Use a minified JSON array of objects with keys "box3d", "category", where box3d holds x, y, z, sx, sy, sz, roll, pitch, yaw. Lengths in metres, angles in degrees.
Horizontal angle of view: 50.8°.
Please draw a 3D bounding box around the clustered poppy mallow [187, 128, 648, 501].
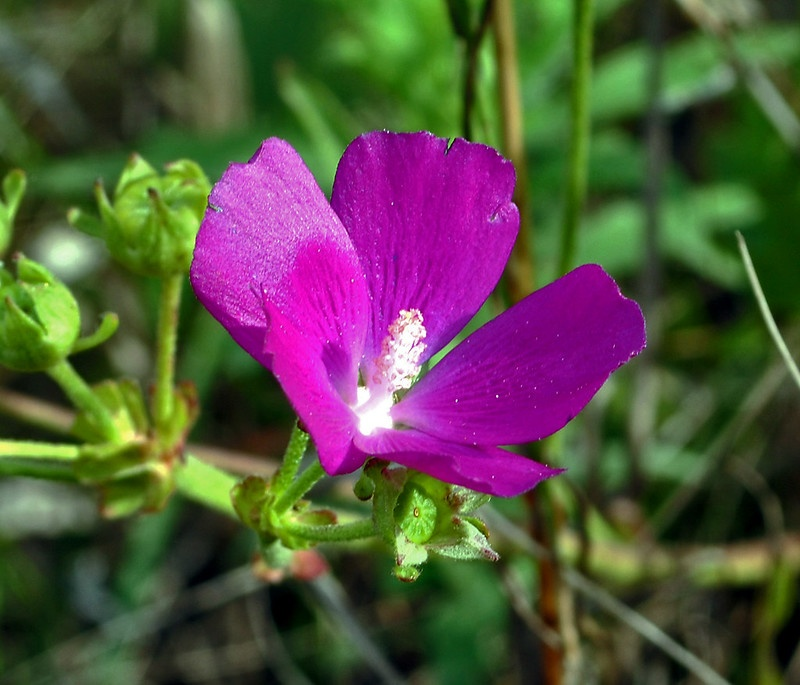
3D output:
[{"box3d":[-0.005,0.011,1.201,0.575,0.283,0.606,-7,54,-26],"category":"clustered poppy mallow"}]
